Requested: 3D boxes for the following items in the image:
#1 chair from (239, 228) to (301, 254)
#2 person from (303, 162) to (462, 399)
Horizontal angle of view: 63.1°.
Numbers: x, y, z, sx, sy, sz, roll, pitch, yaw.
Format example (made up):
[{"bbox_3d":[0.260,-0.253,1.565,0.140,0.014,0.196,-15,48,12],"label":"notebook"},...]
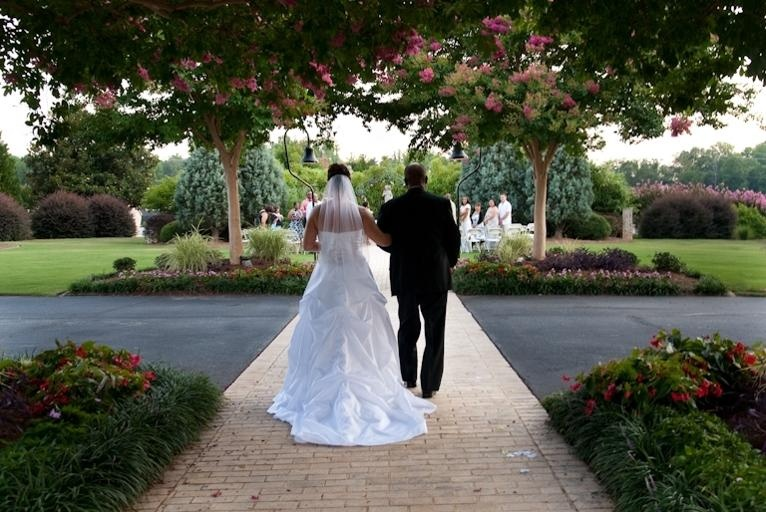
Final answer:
[{"bbox_3d":[-2.707,-0.412,15.174,1.040,0.645,1.091,2,2,-5],"label":"chair"},{"bbox_3d":[0.394,0.246,6.869,0.789,2.492,0.625,5,11,31],"label":"person"}]
